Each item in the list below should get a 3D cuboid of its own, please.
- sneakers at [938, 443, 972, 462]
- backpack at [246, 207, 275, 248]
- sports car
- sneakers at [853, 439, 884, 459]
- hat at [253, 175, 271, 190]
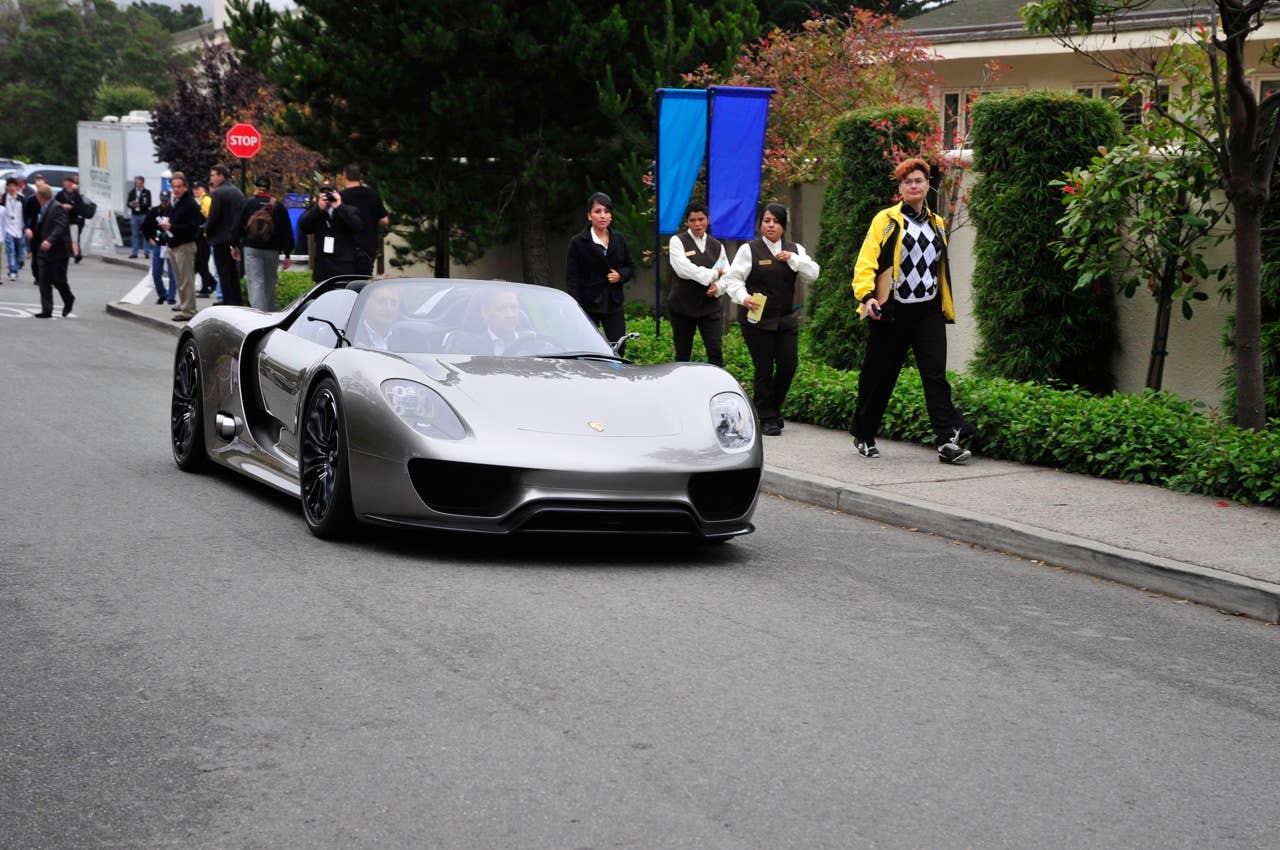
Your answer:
[{"bbox_3d":[2.934,0.272,9.633,0.318,0.183,0.129,1,2,45],"label":"sneakers"},{"bbox_3d":[-6.651,-3.453,18.042,0.615,0.710,0.411,-1,5,-27],"label":"backpack"},{"bbox_3d":[-1.399,-0.166,7.471,4.458,1.774,2.099,9,9,37],"label":"sports car"},{"bbox_3d":[2.204,0.242,9.936,0.104,0.133,0.303,0,-2,-12],"label":"sneakers"},{"bbox_3d":[-6.727,-4.319,18.345,0.184,0.258,0.252,-11,25,-17],"label":"hat"}]
